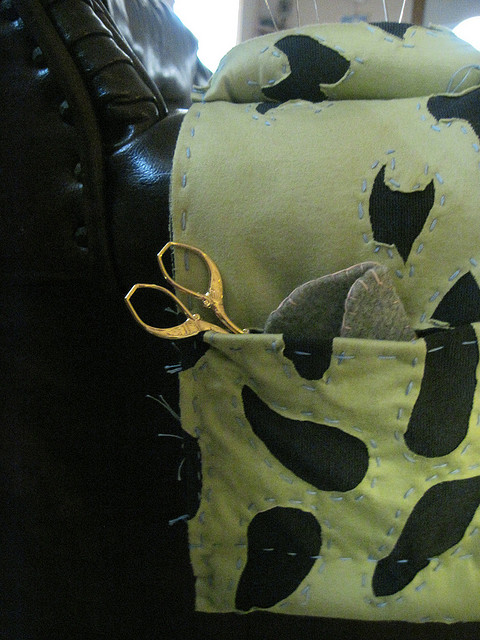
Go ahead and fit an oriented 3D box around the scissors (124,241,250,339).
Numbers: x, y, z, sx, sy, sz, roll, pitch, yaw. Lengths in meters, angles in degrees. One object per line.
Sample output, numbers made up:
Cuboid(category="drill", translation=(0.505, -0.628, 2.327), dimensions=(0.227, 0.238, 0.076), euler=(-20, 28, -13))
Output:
Cuboid(category="scissors", translation=(-0.047, -0.023, 0.670), dimensions=(0.110, 0.085, 0.090), euler=(-2, 26, -6))
